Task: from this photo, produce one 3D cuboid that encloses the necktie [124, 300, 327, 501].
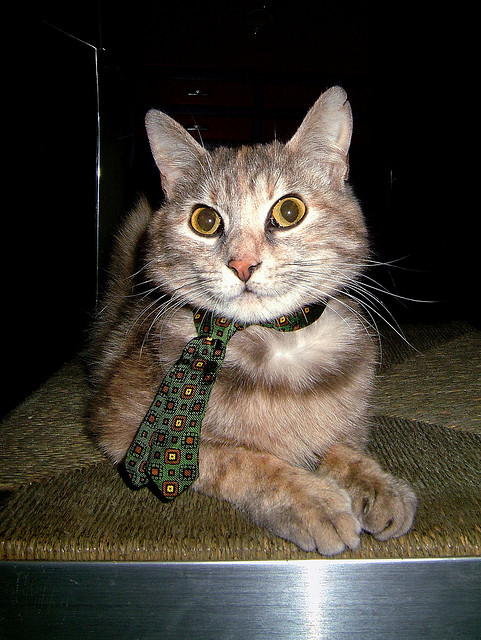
[{"bbox_3d":[-0.088,0.122,0.781,0.185,0.347,0.045,21,27,10],"label":"necktie"}]
